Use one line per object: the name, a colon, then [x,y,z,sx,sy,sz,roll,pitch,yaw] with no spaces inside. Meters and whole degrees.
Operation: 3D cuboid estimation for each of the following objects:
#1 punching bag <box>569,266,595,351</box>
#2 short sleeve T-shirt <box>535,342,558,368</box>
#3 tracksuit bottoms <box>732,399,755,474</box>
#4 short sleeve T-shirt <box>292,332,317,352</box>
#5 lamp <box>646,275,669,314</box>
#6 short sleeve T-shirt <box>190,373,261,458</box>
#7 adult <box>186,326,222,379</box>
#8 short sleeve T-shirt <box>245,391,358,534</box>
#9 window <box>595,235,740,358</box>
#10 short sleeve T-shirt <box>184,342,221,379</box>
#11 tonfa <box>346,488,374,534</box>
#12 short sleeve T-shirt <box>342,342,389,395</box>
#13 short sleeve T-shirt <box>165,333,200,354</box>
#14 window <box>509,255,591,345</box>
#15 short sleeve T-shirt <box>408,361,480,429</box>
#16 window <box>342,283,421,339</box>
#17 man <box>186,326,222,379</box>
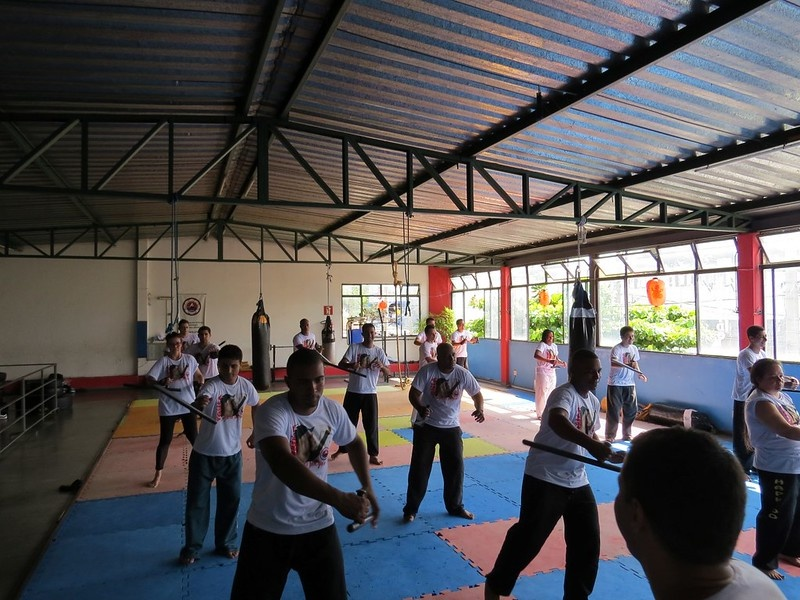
punching bag: [2.100,0.151,6.341,0.253,0.887,0.761,-1,-1,18]
short sleeve T-shirt: [2.984,1.129,11.154,0.689,0.534,0.369,5,-12,-26]
tracksuit bottoms: [5.025,1.980,8.112,0.238,0.983,0.219,1,-15,-8]
short sleeve T-shirt: [-1.925,0.803,10.993,0.325,0.315,0.732,-1,-2,3]
lamp: [4.055,-0.101,8.784,0.356,0.560,0.150,-1,5,-6]
short sleeve T-shirt: [-1.746,1.151,5.528,0.347,0.743,0.775,11,6,44]
adult: [-3.419,1.029,9.637,0.531,1.030,0.547,-8,12,-33]
short sleeve T-shirt: [-0.736,1.141,3.950,0.458,0.875,0.956,0,-5,45]
window: [5.340,0.056,11.335,0.128,2.170,3.485,-1,0,-27]
short sleeve T-shirt: [-3.109,0.959,8.630,0.683,0.649,0.378,4,-12,-30]
tonfa: [-0.251,1.419,3.696,0.133,0.114,0.604,13,-6,12]
short sleeve T-shirt: [-0.537,1.043,8.355,0.693,0.732,0.396,7,-3,-12]
short sleeve T-shirt: [-3.353,0.678,8.491,0.432,0.427,0.243,1,-9,-26]
window: [3.801,0.250,14.461,2.925,1.738,0.054,-3,5,-42]
short sleeve T-shirt: [0.497,1.083,6.312,0.864,0.706,0.412,4,0,-7]
window: [-0.615,0.375,17.906,2.960,1.808,0.048,-1,2,25]
man: [-3.413,1.028,9.649,0.526,1.007,0.494,-3,12,-16]
